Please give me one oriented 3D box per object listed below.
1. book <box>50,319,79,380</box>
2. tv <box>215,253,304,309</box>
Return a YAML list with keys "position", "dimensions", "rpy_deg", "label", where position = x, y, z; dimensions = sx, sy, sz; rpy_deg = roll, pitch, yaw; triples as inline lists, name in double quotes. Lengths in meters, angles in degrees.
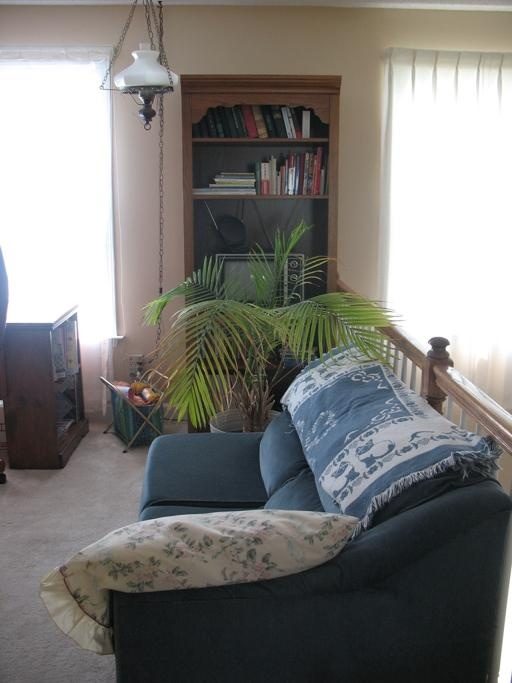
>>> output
- position: [-1.168, 0.049, 3.359]
  dimensions: [0.187, 0.339, 0.338]
  rpy_deg: [-1, 8, -5]
  label: "book"
- position: [0.013, -0.318, 2.887]
  dimensions: [0.361, 0.208, 0.406]
  rpy_deg: [-6, 41, -15]
  label: "tv"
